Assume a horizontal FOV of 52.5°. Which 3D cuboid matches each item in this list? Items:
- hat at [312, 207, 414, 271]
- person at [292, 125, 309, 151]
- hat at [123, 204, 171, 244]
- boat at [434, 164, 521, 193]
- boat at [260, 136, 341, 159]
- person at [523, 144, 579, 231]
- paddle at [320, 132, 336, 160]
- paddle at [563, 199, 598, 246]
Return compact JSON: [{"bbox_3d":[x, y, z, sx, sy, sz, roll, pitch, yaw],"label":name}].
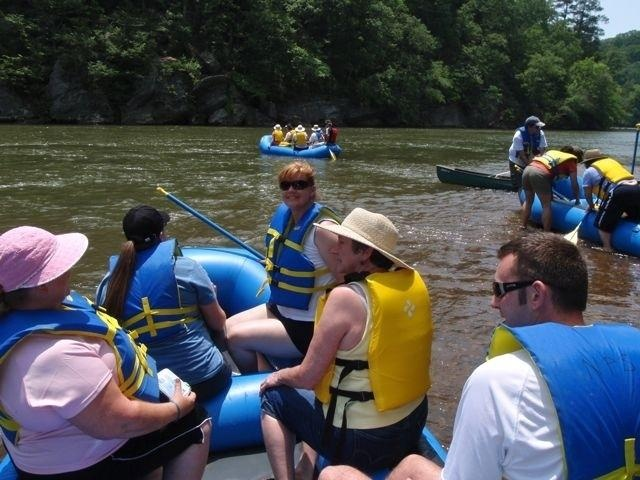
[{"bbox_3d":[0.249,-0.033,3.369,0.354,0.133,0.331,26,-3,22],"label":"hat"},{"bbox_3d":[-0.604,-2.952,18.568,0.471,0.706,0.740,-1,7,-6],"label":"person"},{"bbox_3d":[-1.005,-0.087,3.753,0.171,0.138,0.262,3,37,9],"label":"hat"},{"bbox_3d":[3.232,-1.240,13.250,2.284,0.402,0.598,16,9,34],"label":"boat"},{"bbox_3d":[-0.615,-2.569,18.558,1.944,0.513,0.968,7,11,34],"label":"boat"},{"bbox_3d":[3.079,-0.662,8.677,0.733,1.164,0.763,4,12,21],"label":"person"},{"bbox_3d":[0.216,-2.591,17.999,0.086,0.874,0.198,-1,31,43],"label":"paddle"},{"bbox_3d":[3.283,-0.204,8.125,0.172,0.045,1.001,34,47,15],"label":"paddle"}]
